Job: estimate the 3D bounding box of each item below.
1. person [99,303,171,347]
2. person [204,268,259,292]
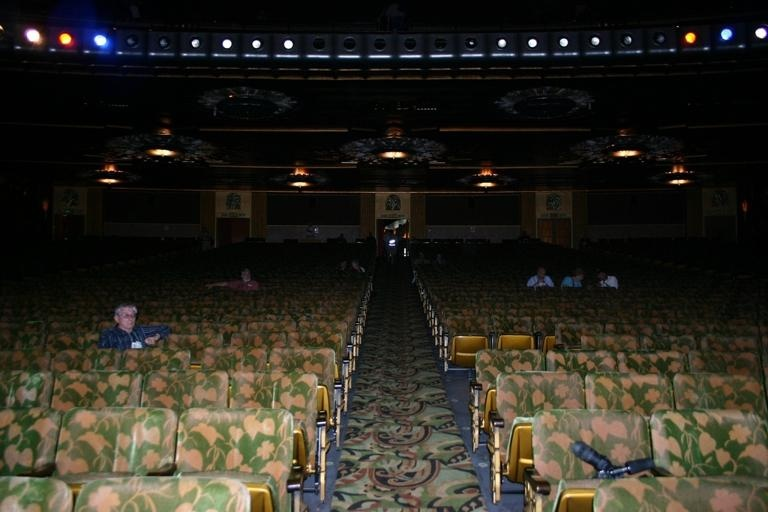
[{"bbox_3d":[-3.401,0.999,6.847,0.514,0.619,1.037,0,-4,32],"label":"person"},{"bbox_3d":[-3.413,0.610,11.616,1.102,0.442,0.659,1,4,10],"label":"person"}]
